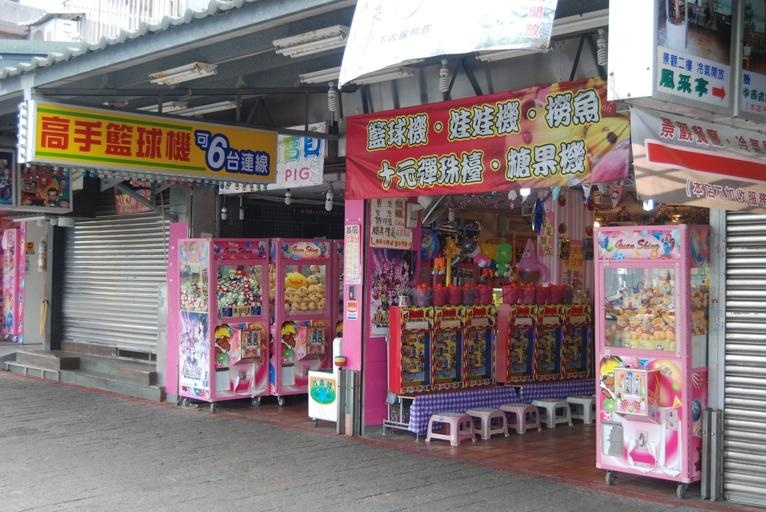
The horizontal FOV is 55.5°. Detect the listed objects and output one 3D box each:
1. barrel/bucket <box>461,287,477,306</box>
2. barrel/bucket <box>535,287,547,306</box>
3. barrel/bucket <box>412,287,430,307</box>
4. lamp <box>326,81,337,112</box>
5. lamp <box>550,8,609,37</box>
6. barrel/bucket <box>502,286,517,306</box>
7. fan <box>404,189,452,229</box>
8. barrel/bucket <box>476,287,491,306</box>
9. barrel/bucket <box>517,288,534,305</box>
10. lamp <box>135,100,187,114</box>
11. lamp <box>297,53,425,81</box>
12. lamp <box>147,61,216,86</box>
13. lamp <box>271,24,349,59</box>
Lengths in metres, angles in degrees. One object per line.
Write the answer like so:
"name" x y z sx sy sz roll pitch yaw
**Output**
"barrel/bucket" 1.221 0.592 10.325 0.238 0.261 0.243 0 -2 0
"barrel/bucket" 2.397 0.639 11.080 0.220 0.248 0.220 0 -2 0
"barrel/bucket" 0.519 0.575 9.929 0.250 0.236 0.244 0 -3 0
"lamp" -0.693 -2.154 9.757 0.108 0.382 0.241 -2 2 -8
"lamp" 2.137 -2.520 7.864 0.596 0.184 0.495 0 3 20
"barrel/bucket" 1.906 0.607 10.874 0.235 0.242 0.228 0 -2 0
"fan" 0.669 -0.625 10.384 0.421 0.466 0.694 0 3 33
"barrel/bucket" 1.465 0.591 10.494 0.231 0.248 0.219 0 -2 0
"barrel/bucket" 2.161 0.628 10.995 0.238 0.252 0.234 2 -3 0
"lamp" -3.321 -2.284 11.184 0.940 0.138 0.399 1 4 40
"lamp" -0.246 -2.022 7.760 1.135 0.121 0.260 2 35 41
"lamp" -2.544 -2.269 9.066 0.630 0.105 0.372 -10 -11 28
"lamp" -0.838 -2.434 8.171 1.033 0.189 0.449 1 4 44
